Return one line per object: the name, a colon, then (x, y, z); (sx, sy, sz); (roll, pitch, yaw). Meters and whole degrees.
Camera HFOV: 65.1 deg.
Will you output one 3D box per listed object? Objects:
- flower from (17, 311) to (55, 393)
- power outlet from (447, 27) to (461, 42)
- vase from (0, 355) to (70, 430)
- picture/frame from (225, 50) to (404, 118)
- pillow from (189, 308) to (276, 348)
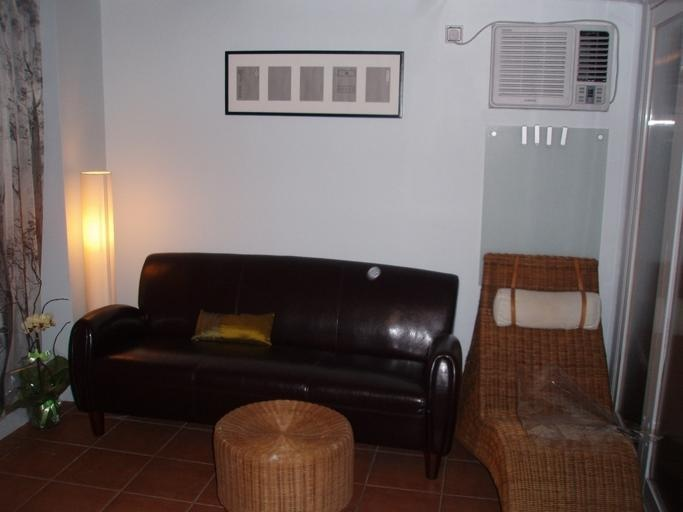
flower: (-2.214, 0.651, 3.936); (0.188, 0.537, 0.454); (-7, 14, -32)
power outlet: (0.820, -1.617, 3.878); (0.101, 0.108, 0.038); (3, 5, 3)
vase: (-2.190, 0.976, 3.851); (0.322, 0.522, 0.512); (-3, -2, 17)
picture/frame: (-0.219, -1.313, 4.124); (1.381, 0.561, 0.035); (1, -9, 1)
pillow: (-0.764, 0.517, 3.894); (0.500, 0.233, 0.076); (3, -27, 1)
